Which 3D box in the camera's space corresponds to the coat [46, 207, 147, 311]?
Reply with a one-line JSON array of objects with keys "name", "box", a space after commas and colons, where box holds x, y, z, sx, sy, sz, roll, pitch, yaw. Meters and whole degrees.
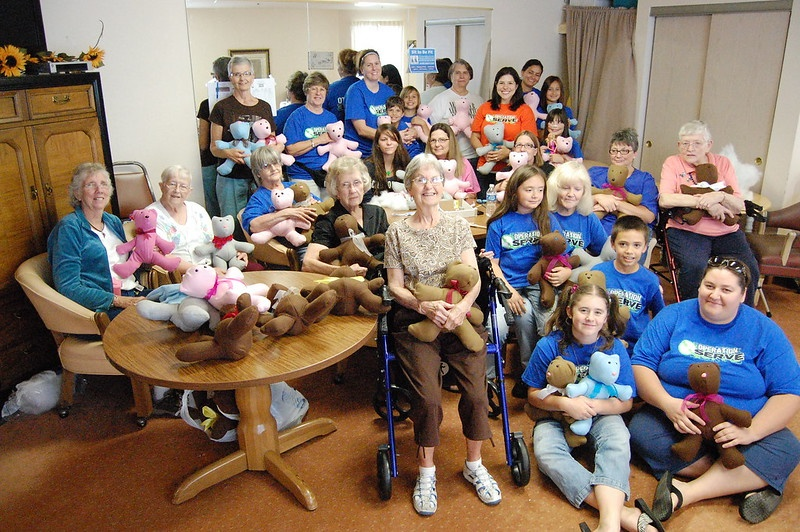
[{"name": "coat", "box": [-2.278, -0.031, 4.300, 0.358, 0.580, 0.660, -7, 10, 13]}]

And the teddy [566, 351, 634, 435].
[{"name": "teddy", "box": [1.296, 0.808, 3.692, 0.465, 0.478, 0.326, 2, 31, -13]}]

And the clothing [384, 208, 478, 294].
[{"name": "clothing", "box": [0.146, -0.108, 3.904, 0.751, 0.711, 0.418, -4, 2, -9]}]

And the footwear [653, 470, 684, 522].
[{"name": "footwear", "box": [1.644, 1.429, 3.512, 0.086, 0.326, 0.160, 20, -22, -33]}]

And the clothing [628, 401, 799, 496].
[{"name": "clothing", "box": [1.992, 1.171, 3.649, 0.734, 0.245, 0.564, 3, 4, 20]}]

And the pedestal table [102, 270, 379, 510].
[{"name": "pedestal table", "box": [-0.966, 0.898, 3.884, 1.669, 1.090, 1.675, -1, 15, -7]}]

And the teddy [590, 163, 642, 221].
[{"name": "teddy", "box": [1.940, -0.673, 5.195, 0.476, 0.484, 0.302, 17, 40, 33]}]

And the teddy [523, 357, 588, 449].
[{"name": "teddy", "box": [1.035, 0.886, 3.741, 0.267, 0.556, 0.535, 5, 7, -20]}]

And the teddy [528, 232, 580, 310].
[{"name": "teddy", "box": [1.150, 0.043, 4.307, 0.431, 0.376, 0.237, -33, 37, -28]}]

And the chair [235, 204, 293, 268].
[{"name": "chair", "box": [-1.123, -0.204, 5.069, 0.555, 0.614, 0.492, -7, 29, -11]}]

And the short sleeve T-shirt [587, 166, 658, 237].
[{"name": "short sleeve T-shirt", "box": [2.103, -0.624, 5.272, 0.671, 0.810, 0.639, 5, 16, 31]}]

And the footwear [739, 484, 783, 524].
[{"name": "footwear", "box": [2.249, 1.476, 3.544, 0.304, 0.173, 0.150, -2, 22, -5]}]

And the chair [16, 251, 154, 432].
[{"name": "chair", "box": [-2.280, 0.516, 4.575, 1.128, 1.165, 1.150, 9, 15, 28]}]

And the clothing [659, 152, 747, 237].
[{"name": "clothing", "box": [2.829, -0.769, 5.294, 0.706, 0.795, 0.445, 16, 71, 43]}]

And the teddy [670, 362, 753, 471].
[{"name": "teddy", "box": [1.973, 0.956, 3.585, 0.582, 0.697, 0.410, -7, 6, 37]}]

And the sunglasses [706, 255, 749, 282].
[{"name": "sunglasses", "box": [2.081, 0.015, 3.622, 0.254, 0.143, 0.166, 12, 24, 28]}]

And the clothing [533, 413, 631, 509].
[{"name": "clothing", "box": [1.250, 1.220, 3.827, 0.583, 0.373, 0.926, -10, 8, 7]}]

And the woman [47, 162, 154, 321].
[{"name": "woman", "box": [-2.248, -0.225, 4.398, 0.764, 1.053, 0.726, 12, 18, 7]}]

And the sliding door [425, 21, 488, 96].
[{"name": "sliding door", "box": [0.732, -2.802, 7.366, 0.814, 0.023, 0.859, 1, -26, 4]}]

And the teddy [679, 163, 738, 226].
[{"name": "teddy", "box": [2.688, -0.649, 5.091, 0.509, 0.542, 0.189, 2, -6, 11]}]

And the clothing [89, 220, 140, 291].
[{"name": "clothing", "box": [-2.212, -0.051, 4.429, 0.336, 0.450, 0.153, -24, 13, -33]}]

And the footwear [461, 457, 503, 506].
[{"name": "footwear", "box": [0.534, 1.390, 3.638, 0.134, 0.146, 0.361, -9, 17, -22]}]
